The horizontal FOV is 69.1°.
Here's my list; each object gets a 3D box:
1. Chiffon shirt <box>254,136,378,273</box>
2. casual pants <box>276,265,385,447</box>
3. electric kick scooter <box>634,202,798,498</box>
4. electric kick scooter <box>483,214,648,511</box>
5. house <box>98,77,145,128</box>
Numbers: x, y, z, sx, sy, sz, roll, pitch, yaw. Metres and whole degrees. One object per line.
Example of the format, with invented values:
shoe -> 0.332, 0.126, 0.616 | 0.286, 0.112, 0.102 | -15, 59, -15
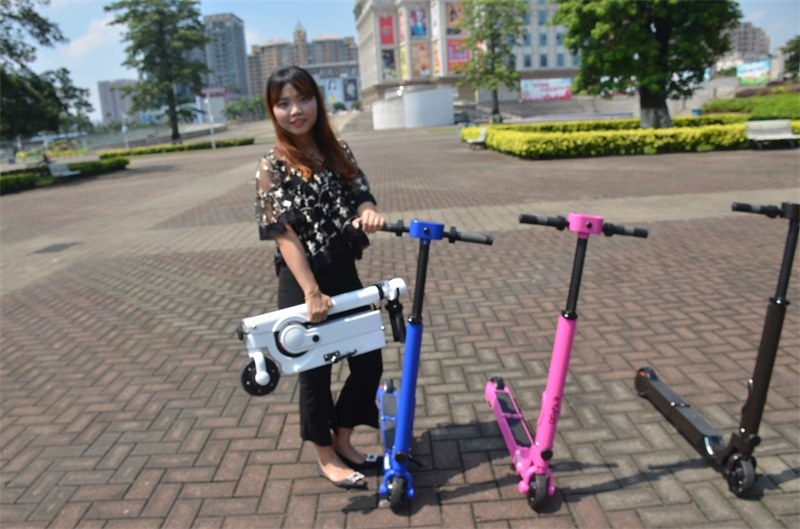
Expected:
Chiffon shirt -> -0.630, -0.479, 4.462 | 0.930, 0.910, 0.460 | -17, 15, -28
casual pants -> -0.590, 0.859, 5.061 | 0.964, 0.360, 1.641 | -17, 36, -3
electric kick scooter -> 2.604, 0.550, 4.575 | 0.648, 2.199, 1.050 | -11, 20, -13
electric kick scooter -> 1.180, 0.626, 4.499 | 0.857, 2.220, 0.975 | -9, 19, -7
house -> -85.357, -48.078, 176.279 | 10.250, 12.559, 10.252 | -1, 9, 4
